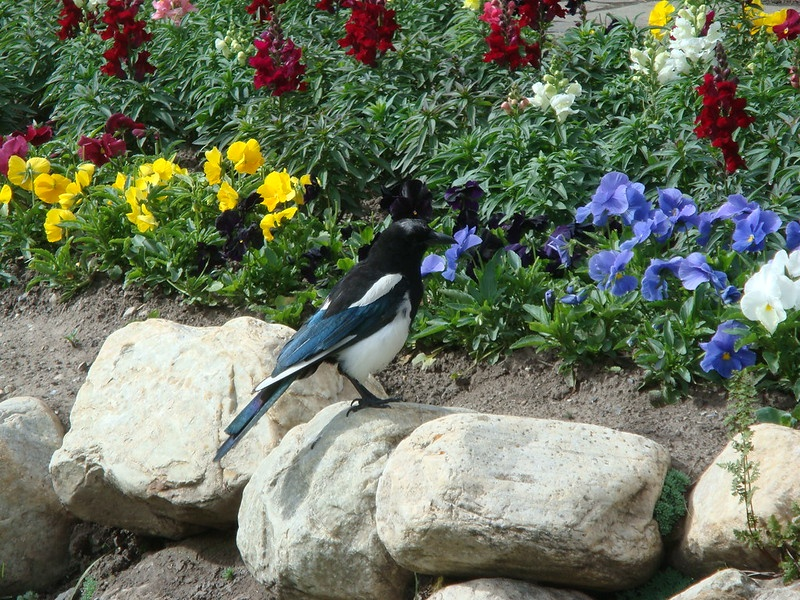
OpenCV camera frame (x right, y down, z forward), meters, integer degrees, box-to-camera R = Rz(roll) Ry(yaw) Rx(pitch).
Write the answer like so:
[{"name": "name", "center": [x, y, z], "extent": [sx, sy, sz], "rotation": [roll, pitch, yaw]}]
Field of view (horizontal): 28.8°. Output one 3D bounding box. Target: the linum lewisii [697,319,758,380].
[{"name": "linum lewisii", "center": [2.122, 0.326, 9.926], "extent": [0.346, 0.352, 0.156], "rotation": [-12, 27, -16]}]

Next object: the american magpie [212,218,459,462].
[{"name": "american magpie", "center": [-0.408, 0.247, 10.056], "extent": [1.532, 1.567, 0.544], "rotation": [-1, 4, -10]}]
